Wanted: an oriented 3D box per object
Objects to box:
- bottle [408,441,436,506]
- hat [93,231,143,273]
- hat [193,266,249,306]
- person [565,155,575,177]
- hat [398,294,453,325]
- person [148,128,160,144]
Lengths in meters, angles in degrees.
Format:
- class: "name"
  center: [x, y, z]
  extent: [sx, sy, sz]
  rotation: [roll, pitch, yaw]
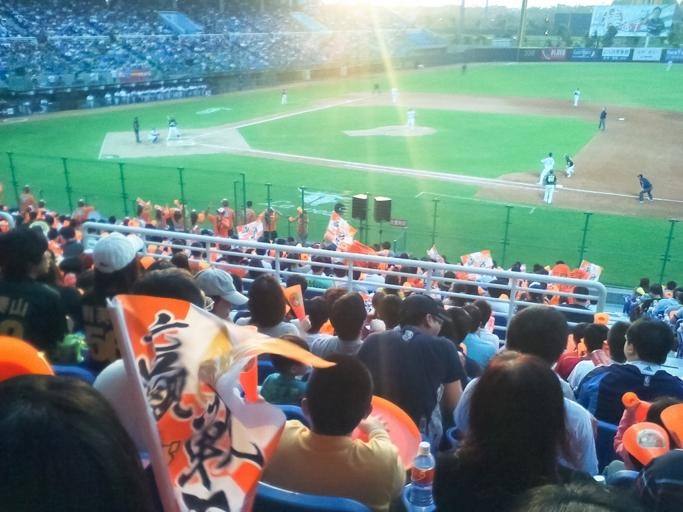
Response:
- class: "bottle"
  center: [0.439, 1.192, 3.251]
  extent: [0.138, 0.335, 0.227]
  rotation: [0, 9, 7]
- class: "hat"
  center: [-1.592, -0.026, 4.214]
  extent: [0.257, 0.192, 0.369]
  rotation: [8, 39, 11]
- class: "hat"
  center: [-1.095, 0.232, 5.241]
  extent: [0.445, 0.237, 0.284]
  rotation: [19, 19, -11]
- class: "person"
  center: [9.595, -3.733, 24.631]
  extent: [0.310, 0.904, 1.287]
  rotation: [3, 9, 20]
- class: "hat"
  center: [0.631, 0.411, 4.588]
  extent: [0.214, 0.156, 0.303]
  rotation: [6, 17, 33]
- class: "person"
  center: [-10.111, -6.366, 31.534]
  extent: [0.530, 0.756, 1.541]
  rotation: [-3, 9, -18]
